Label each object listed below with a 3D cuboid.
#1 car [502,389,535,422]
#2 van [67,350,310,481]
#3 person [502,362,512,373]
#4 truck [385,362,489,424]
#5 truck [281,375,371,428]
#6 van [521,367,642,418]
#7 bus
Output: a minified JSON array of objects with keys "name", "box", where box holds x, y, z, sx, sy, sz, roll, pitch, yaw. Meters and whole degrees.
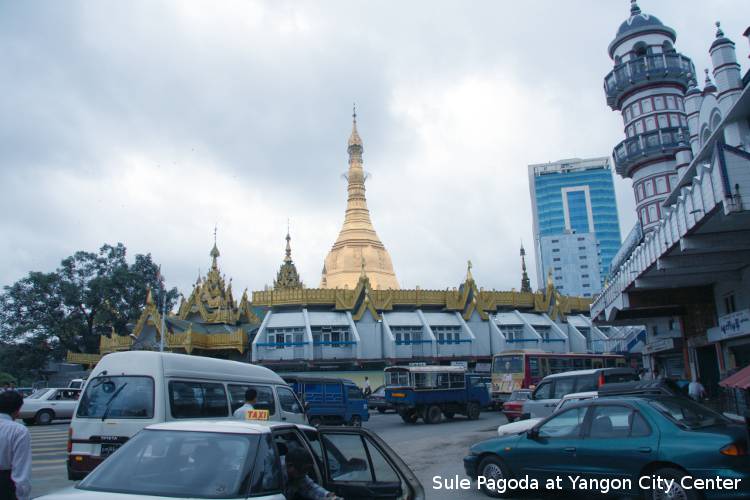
[{"name":"car","box":[5.815,6.406,26.831,1.131,0.938,2.406,-1,-9,9]},{"name":"van","box":[-4.943,4.487,18.413,3.320,3.205,6.590,-11,-15,39]},{"name":"person","box":[6.919,6.133,34.480,0.585,0.789,0.428,-3,-17,11]},{"name":"truck","box":[2.855,6.830,31.867,4.497,2.231,2.766,3,-8,-30]},{"name":"truck","box":[-2.142,6.660,28.951,3.465,1.973,2.440,1,-8,-19]},{"name":"van","box":[7.342,4.920,24.027,3.685,2.066,2.518,-4,-10,29]},{"name":"bus","box":[10.310,6.769,35.993,7.998,2.444,2.611,3,-5,-33]}]
